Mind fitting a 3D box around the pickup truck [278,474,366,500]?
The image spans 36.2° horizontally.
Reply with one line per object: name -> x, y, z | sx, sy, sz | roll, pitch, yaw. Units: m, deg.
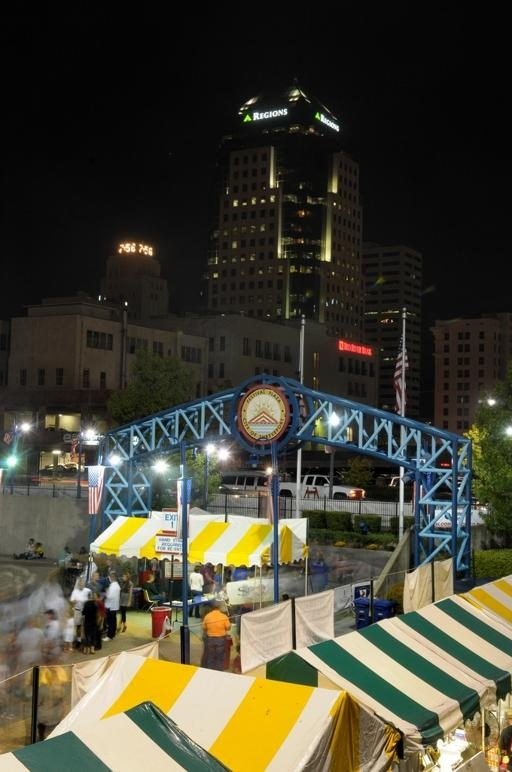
pickup truck -> 3.948, 6.196, 48.040 | 2.464, 1.505, 6.118 | 7, -10, -32

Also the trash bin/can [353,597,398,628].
trash bin/can -> 2.894, 5.581, 19.179 | 0.924, 0.837, 1.839 | 2, -9, -4

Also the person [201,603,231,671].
person -> -0.721, 4.606, 14.301 | 0.520, 1.300, 0.811 | 2, -9, -3

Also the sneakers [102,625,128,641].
sneakers -> -3.490, 6.259, 19.749 | 0.180, 0.265, 0.607 | -2, -11, 18

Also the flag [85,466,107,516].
flag -> -6.058, 4.004, 29.852 | 0.550, 1.843, 1.866 | 3, -9, -10
